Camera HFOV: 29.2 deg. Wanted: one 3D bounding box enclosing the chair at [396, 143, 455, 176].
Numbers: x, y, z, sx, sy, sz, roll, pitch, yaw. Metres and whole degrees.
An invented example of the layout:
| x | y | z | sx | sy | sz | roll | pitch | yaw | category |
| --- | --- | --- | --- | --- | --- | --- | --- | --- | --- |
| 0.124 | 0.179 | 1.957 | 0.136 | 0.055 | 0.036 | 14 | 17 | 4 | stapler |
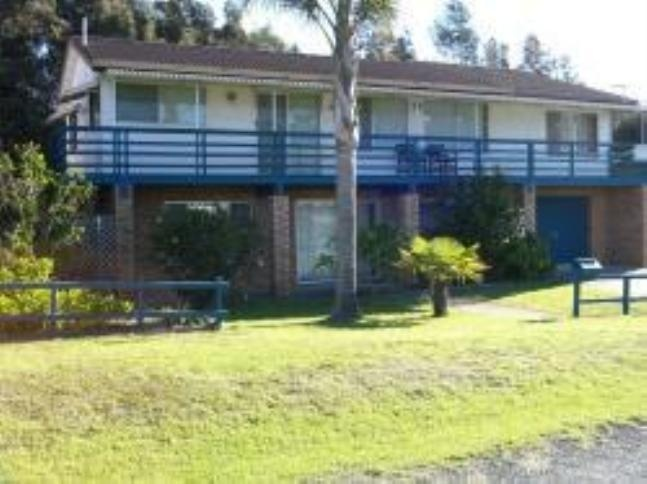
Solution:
| x | y | z | sx | sy | sz | roll | pitch | yaw | category |
| --- | --- | --- | --- | --- | --- | --- | --- | --- | --- |
| 2.969 | -2.385 | 35.668 | 1.156 | 0.801 | 1.227 | 1 | 1 | -2 | chair |
